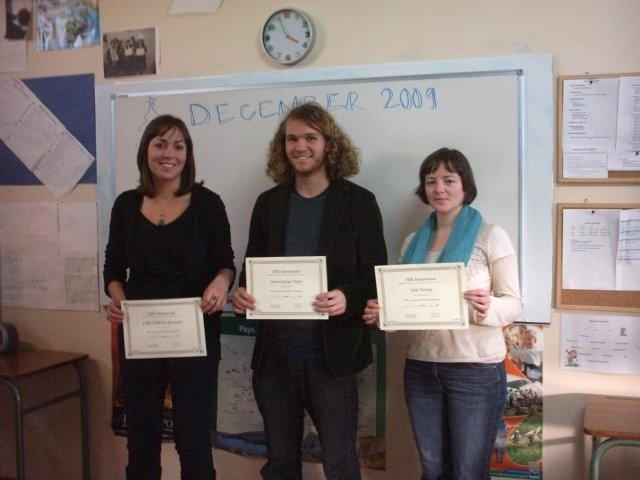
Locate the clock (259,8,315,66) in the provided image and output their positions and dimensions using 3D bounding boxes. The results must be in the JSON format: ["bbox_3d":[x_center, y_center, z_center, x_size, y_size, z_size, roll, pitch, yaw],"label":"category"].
[{"bbox_3d":[-0.163,-1.100,2.827,0.271,0.269,0.053,-16,-1,16],"label":"clock"}]

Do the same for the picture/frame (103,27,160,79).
[{"bbox_3d":[-1.076,-1.090,3.046,0.325,0.235,0.014,-1,3,12],"label":"picture/frame"}]

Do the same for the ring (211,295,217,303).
[{"bbox_3d":[-0.482,0.269,2.400,0.025,0.029,0.008,-1,4,-36],"label":"ring"}]
